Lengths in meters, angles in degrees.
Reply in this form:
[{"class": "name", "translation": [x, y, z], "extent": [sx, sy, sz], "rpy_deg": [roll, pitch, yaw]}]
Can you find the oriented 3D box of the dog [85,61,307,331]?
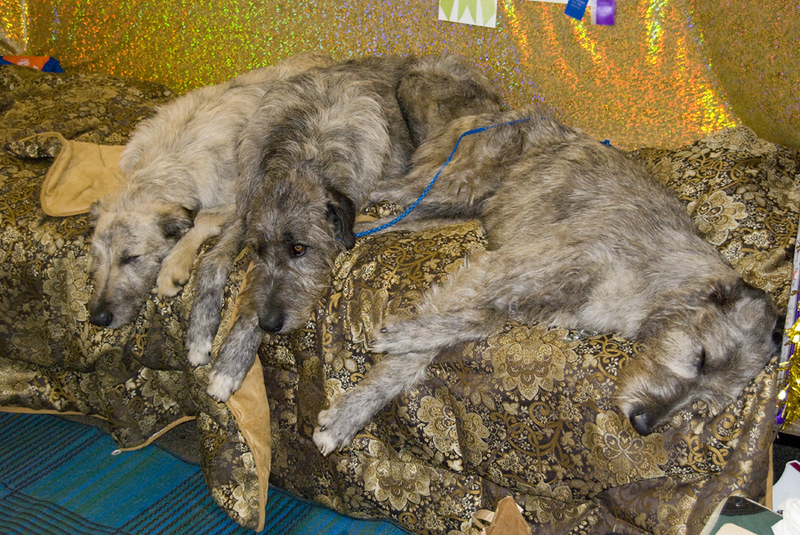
[{"class": "dog", "translation": [-1.332, -0.442, 5.100], "extent": [0.593, 0.569, 1.876], "rpy_deg": [4, 48, 43]}]
